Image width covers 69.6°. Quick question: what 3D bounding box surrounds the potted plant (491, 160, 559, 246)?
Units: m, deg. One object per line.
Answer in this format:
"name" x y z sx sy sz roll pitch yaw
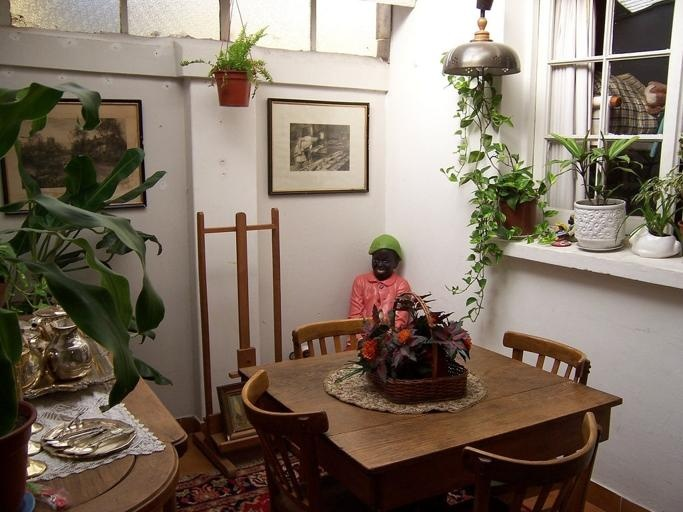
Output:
"potted plant" 1.037 -0.347 3.078 0.429 0.463 0.461 -3 9 -5

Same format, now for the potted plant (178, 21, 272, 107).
"potted plant" -0.732 -1.227 3.245 0.537 0.475 0.431 -1 11 5

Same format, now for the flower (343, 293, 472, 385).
"flower" 0.257 0.333 1.975 0.368 0.271 0.368 -2 1 -24

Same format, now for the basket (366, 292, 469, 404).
"basket" 0.286 0.315 2.035 0.378 0.353 0.419 -2 8 -8

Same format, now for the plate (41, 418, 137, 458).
"plate" -0.778 0.559 1.506 0.121 0.020 0.117 10 13 32

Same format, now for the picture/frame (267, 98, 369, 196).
"picture/frame" -0.213 -0.830 3.671 0.722 0.613 0.029 -3 7 -26
